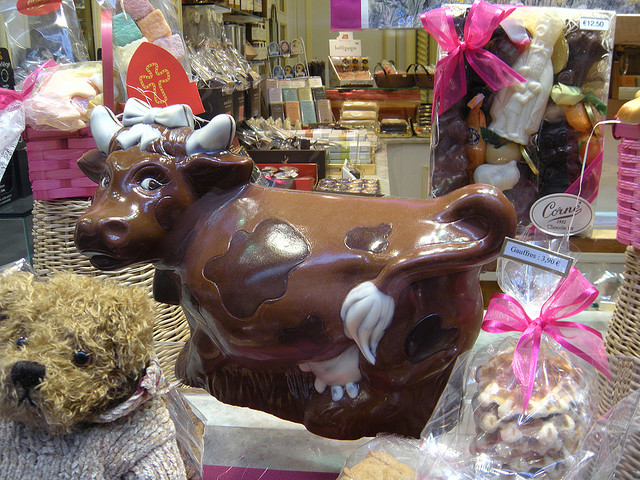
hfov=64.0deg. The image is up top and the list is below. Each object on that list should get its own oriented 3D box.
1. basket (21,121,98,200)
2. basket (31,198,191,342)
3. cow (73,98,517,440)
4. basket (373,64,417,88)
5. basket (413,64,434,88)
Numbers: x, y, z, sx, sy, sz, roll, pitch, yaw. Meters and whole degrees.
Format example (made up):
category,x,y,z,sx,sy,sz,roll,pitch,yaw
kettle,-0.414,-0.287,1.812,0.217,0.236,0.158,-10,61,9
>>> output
category,x,y,z,sx,sy,sz,roll,pitch,yaw
basket,-0.586,-0.168,1.208,0.198,0.156,0.210,-7,-2,33
basket,-0.455,0.035,1.273,0.346,0.381,0.367,2,6,8
cow,-0.057,0.074,0.915,0.649,0.564,0.298,7,19,3
basket,0.507,-1.114,3.484,0.281,0.141,0.160,3,24,9
basket,0.690,-1.088,3.413,0.124,0.145,0.160,2,24,8
